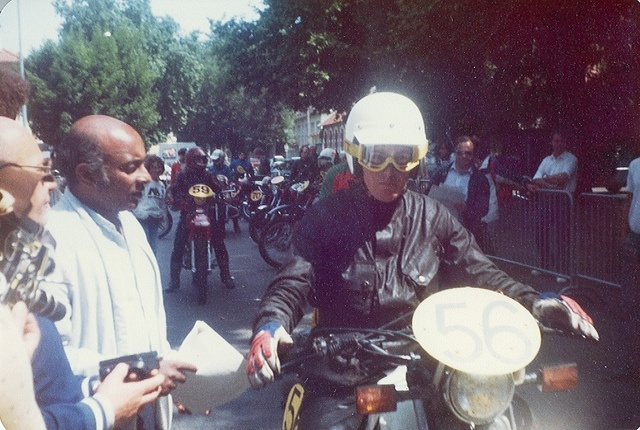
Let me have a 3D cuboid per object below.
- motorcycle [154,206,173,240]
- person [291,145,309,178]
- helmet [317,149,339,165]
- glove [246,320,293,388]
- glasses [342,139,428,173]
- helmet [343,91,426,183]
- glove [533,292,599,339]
[{"bbox_3d":[-2.672,0.171,9.988,0.180,0.613,0.551,6,-13,-25],"label":"motorcycle"},{"bbox_3d":[-0.458,-1.240,13.966,0.240,0.826,0.565,14,2,-2],"label":"person"},{"bbox_3d":[0.145,-1.172,11.748,0.364,0.415,0.295,13,-6,-23],"label":"helmet"},{"bbox_3d":[-0.192,0.569,2.345,0.076,0.188,0.235,-2,28,18],"label":"glove"},{"bbox_3d":[0.300,-0.274,2.708,0.378,0.153,0.138,2,2,-1],"label":"glasses"},{"bbox_3d":[0.294,-0.368,2.678,0.277,0.341,0.392,0,22,-2],"label":"helmet"},{"bbox_3d":[1.036,0.441,2.466,0.153,0.260,0.097,-30,-33,-4],"label":"glove"}]
